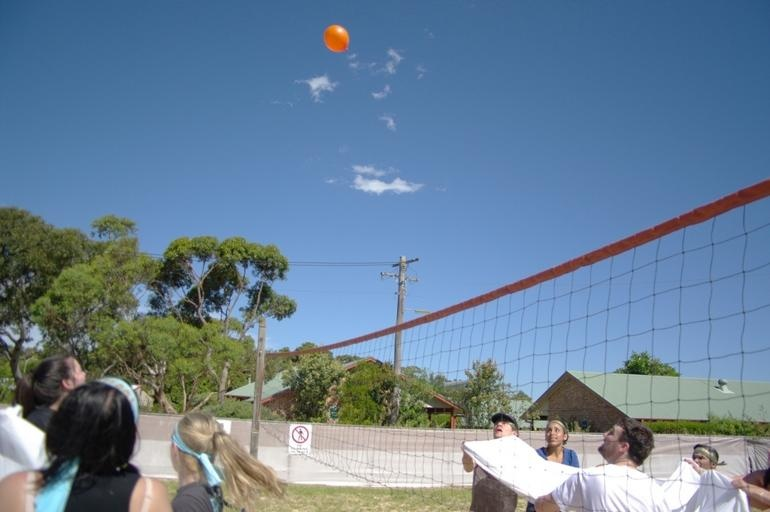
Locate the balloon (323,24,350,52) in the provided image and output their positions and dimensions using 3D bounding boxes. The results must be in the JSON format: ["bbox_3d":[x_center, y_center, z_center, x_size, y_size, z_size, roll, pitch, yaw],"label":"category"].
[{"bbox_3d":[-0.711,-3.153,9.070,0.304,0.505,0.294,11,-20,-14],"label":"balloon"}]
